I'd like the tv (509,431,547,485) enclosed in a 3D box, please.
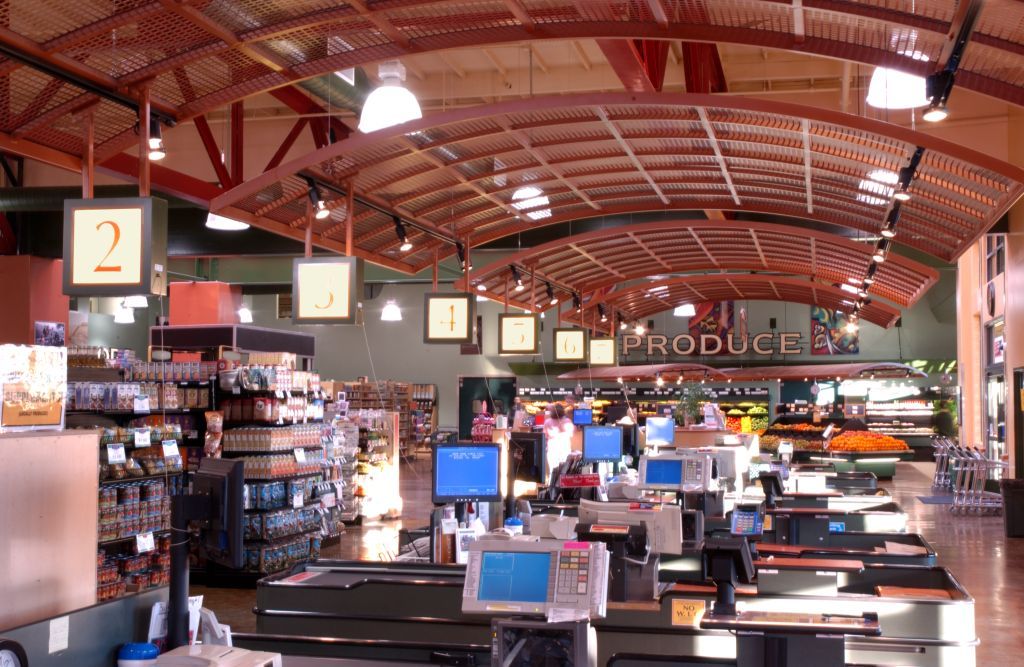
[{"bbox_3d":[0.233,1.476,10.552,0.508,0.694,0.745,0,-3,6],"label":"tv"}]

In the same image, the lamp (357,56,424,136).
[{"bbox_3d":[-1.434,-2.740,10.062,0.657,0.989,0.781,3,-6,-12],"label":"lamp"}]

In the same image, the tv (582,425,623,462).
[{"bbox_3d":[1.540,1.901,14.538,0.672,0.585,0.229,1,1,2],"label":"tv"}]

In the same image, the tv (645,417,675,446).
[{"bbox_3d":[3.039,2.013,17.420,0.593,0.670,0.350,1,-28,-6],"label":"tv"}]

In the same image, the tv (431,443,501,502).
[{"bbox_3d":[-0.461,1.392,8.469,0.627,0.468,0.099,0,-6,-3],"label":"tv"}]

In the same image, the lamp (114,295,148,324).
[{"bbox_3d":[-8.380,-0.495,18.757,0.663,0.601,0.465,16,3,15],"label":"lamp"}]
